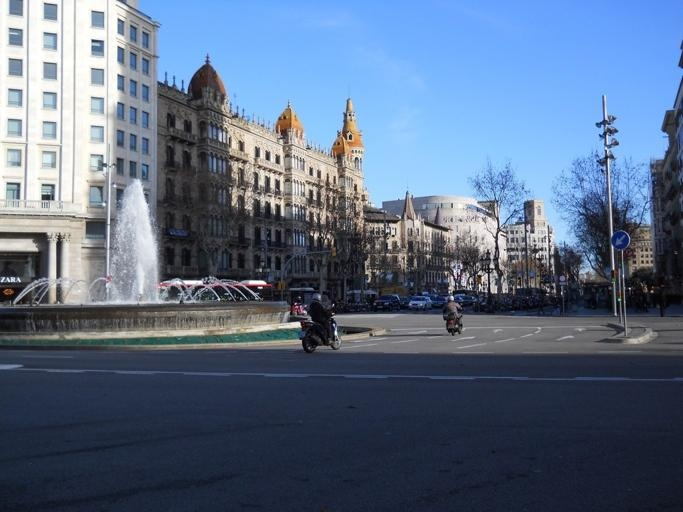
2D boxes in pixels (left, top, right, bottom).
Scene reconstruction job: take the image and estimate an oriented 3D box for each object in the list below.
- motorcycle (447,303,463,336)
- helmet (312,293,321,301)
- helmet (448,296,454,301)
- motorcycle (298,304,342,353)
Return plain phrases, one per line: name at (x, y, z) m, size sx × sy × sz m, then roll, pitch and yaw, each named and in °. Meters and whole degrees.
motorcycle at (4.400, 2.397, 29.993) m, size 0.486 × 1.318 × 1.193 m, roll -2°, pitch -5°, yaw 19°
helmet at (-0.757, 1.276, 23.889) m, size 0.182 × 0.231 × 0.229 m, roll 5°, pitch -11°, yaw -42°
helmet at (4.354, 1.696, 30.336) m, size 0.193 × 0.233 × 0.282 m, roll 3°, pitch 6°, yaw 33°
motorcycle at (-0.652, 2.140, 23.556) m, size 0.722 × 1.557 × 1.610 m, roll -4°, pitch -5°, yaw 33°
